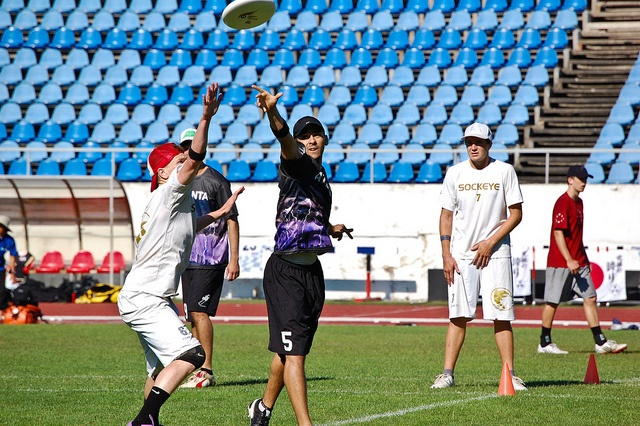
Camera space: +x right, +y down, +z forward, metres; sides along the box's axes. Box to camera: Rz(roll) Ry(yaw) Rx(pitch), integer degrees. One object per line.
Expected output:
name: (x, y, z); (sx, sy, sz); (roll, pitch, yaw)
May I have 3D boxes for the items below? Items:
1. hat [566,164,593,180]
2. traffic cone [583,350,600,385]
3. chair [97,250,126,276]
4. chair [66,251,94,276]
hat: (6.899, -1.109, 33.945); (0.516, 0.281, 0.390); (1, 1, 30)
traffic cone: (6.762, 3.837, 31.512); (0.364, 0.707, 0.438); (0, -4, 12)
chair: (-6.935, 1.685, 42.456); (0.750, 0.500, 0.734); (0, -2, 2)
chair: (-7.960, 1.672, 42.457); (0.712, 0.639, 0.727); (0, -8, 0)
